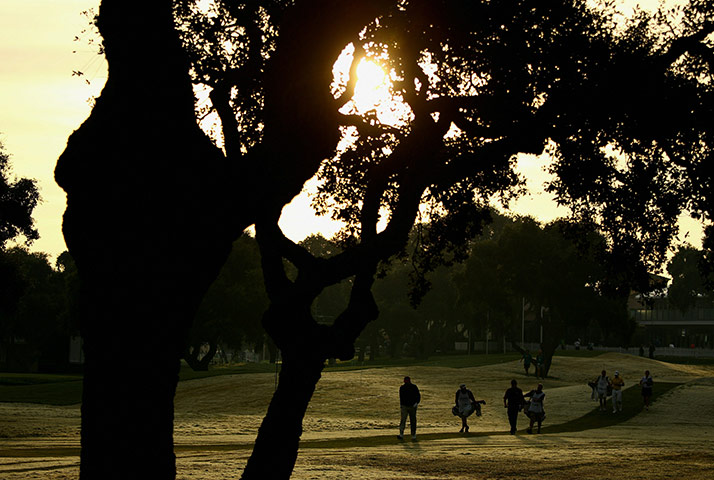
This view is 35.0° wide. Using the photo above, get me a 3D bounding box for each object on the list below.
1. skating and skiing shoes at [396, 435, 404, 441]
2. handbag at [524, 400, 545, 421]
[{"bbox_3d":[1.696,7.733,44.407,0.208,0.216,0.335,4,-12,-8],"label":"skating and skiing shoes"},{"bbox_3d":[7.629,7.261,48.701,0.986,0.795,1.073,-2,24,6],"label":"handbag"}]
